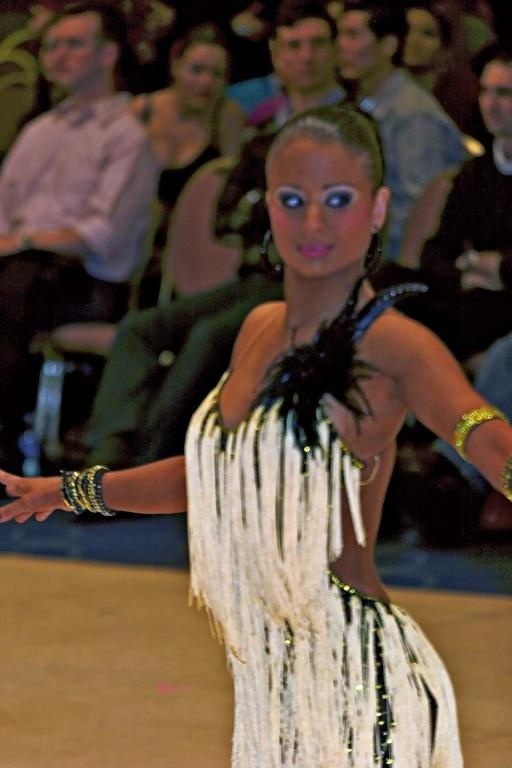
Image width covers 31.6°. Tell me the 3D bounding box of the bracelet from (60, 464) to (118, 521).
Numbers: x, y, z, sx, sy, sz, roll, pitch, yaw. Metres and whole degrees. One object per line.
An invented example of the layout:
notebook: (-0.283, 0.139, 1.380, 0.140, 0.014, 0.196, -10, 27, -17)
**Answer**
bracelet: (-0.414, 0.264, 2.222, 0.130, 0.060, 0.139, -5, 13, -26)
